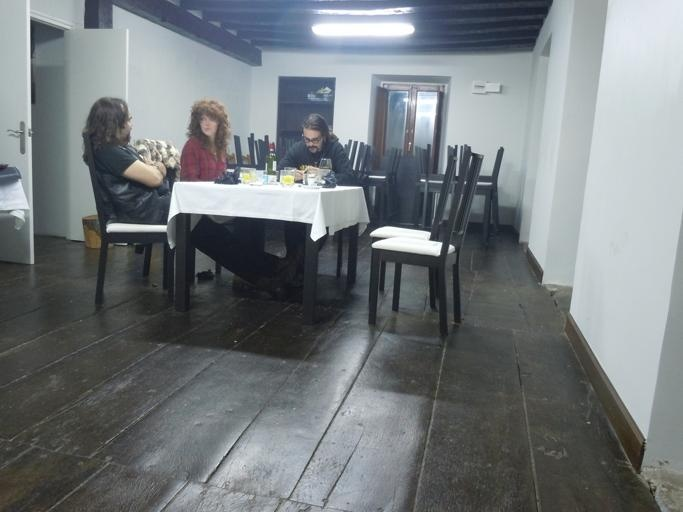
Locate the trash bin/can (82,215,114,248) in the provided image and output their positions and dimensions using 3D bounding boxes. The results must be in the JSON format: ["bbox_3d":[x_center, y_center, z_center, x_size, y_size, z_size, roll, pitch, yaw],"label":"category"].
[{"bbox_3d":[-2.572,-0.267,5.101,0.239,0.301,0.244,-6,20,-40],"label":"trash bin/can"}]

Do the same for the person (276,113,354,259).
[{"bbox_3d":[-0.248,-0.623,4.469,0.538,1.214,0.548,0,2,-16],"label":"person"}]

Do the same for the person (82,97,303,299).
[{"bbox_3d":[-1.062,-0.426,3.829,1.681,1.217,1.343,13,17,19],"label":"person"}]

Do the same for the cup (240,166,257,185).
[{"bbox_3d":[-0.638,-0.540,3.316,0.103,0.119,0.114,3,6,2],"label":"cup"}]
